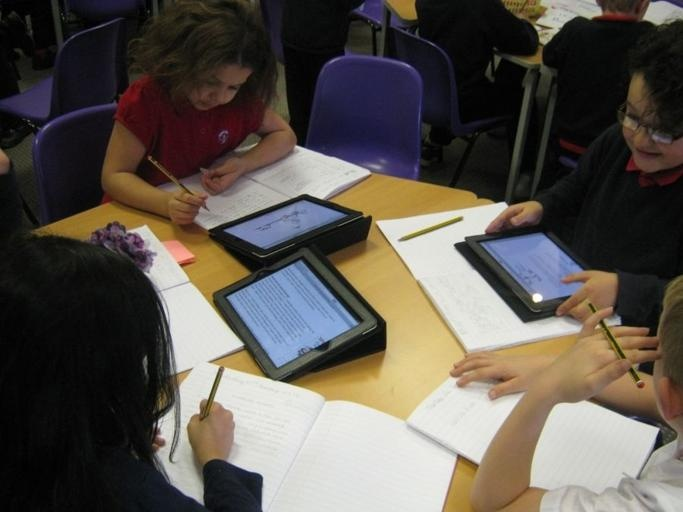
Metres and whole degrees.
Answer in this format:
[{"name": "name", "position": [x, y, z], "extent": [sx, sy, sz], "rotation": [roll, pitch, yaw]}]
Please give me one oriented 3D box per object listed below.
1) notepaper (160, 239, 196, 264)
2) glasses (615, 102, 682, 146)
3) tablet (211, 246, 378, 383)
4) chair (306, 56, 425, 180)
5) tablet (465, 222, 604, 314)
[{"name": "notepaper", "position": [-0.483, -0.013, 1.590], "extent": [0.073, 0.018, 0.075], "rotation": [-23, 52, -28]}, {"name": "glasses", "position": [0.848, -0.364, 1.506], "extent": [0.059, 0.062, 0.203], "rotation": [-23, 47, -17]}, {"name": "tablet", "position": [-0.122, 0.161, 1.333], "extent": [0.301, 0.086, 0.344], "rotation": [-28, 54, -18]}, {"name": "chair", "position": [0.074, -0.655, 2.569], "extent": [0.586, 0.620, 0.523], "rotation": [11, 31, 3]}, {"name": "tablet", "position": [0.533, 0.027, 1.499], "extent": [0.222, 0.055, 0.232], "rotation": [-19, 53, -20]}]
